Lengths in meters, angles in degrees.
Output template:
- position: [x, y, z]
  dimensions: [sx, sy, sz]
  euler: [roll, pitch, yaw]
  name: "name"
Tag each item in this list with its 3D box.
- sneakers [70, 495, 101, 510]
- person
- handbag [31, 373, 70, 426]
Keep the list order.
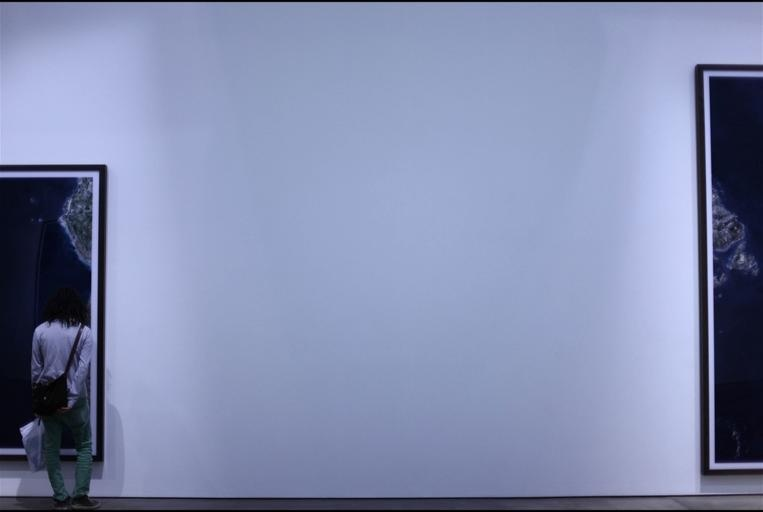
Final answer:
- position: [-2.250, 1.887, 5.833]
  dimensions: [0.226, 0.098, 0.090]
  euler: [2, -5, -10]
  name: "sneakers"
- position: [-2.375, 1.078, 5.778]
  dimensions: [0.541, 1.653, 0.234]
  euler: [4, -8, -19]
  name: "person"
- position: [-2.466, 1.065, 5.707]
  dimensions: [0.371, 0.377, 0.119]
  euler: [-7, -8, 7]
  name: "handbag"
